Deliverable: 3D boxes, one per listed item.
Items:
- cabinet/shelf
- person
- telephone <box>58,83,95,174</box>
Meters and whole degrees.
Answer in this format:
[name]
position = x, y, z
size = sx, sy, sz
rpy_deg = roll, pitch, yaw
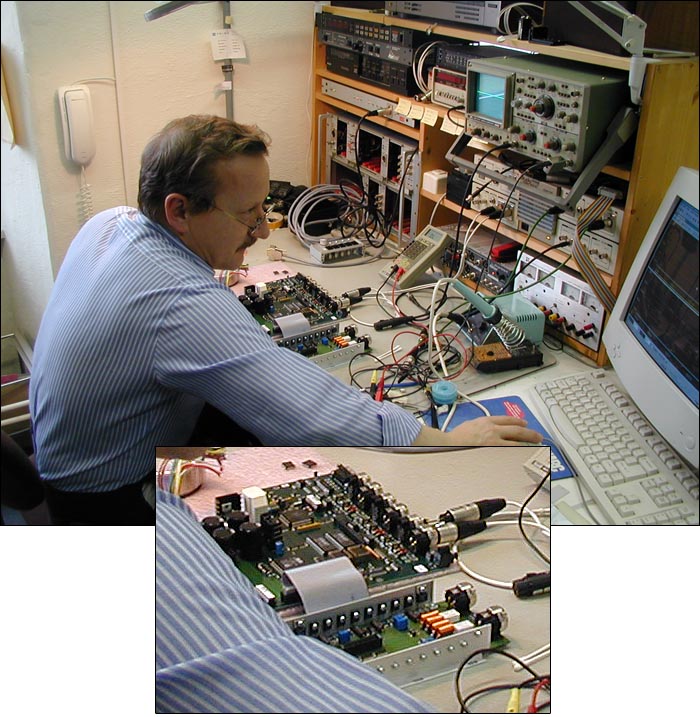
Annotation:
[cabinet/shelf]
position = 0.436, -0.485, 1.795
size = 0.295, 0.722, 1.349
rpy_deg = -17, 39, -29
[person]
position = -0.090, -0.120, 1.471
size = 0.684, 0.975, 0.882
rpy_deg = -23, 50, -20
[telephone]
position = -1.092, -0.918, 2.478
size = 0.129, 0.298, 0.037
rpy_deg = -17, 37, -34
